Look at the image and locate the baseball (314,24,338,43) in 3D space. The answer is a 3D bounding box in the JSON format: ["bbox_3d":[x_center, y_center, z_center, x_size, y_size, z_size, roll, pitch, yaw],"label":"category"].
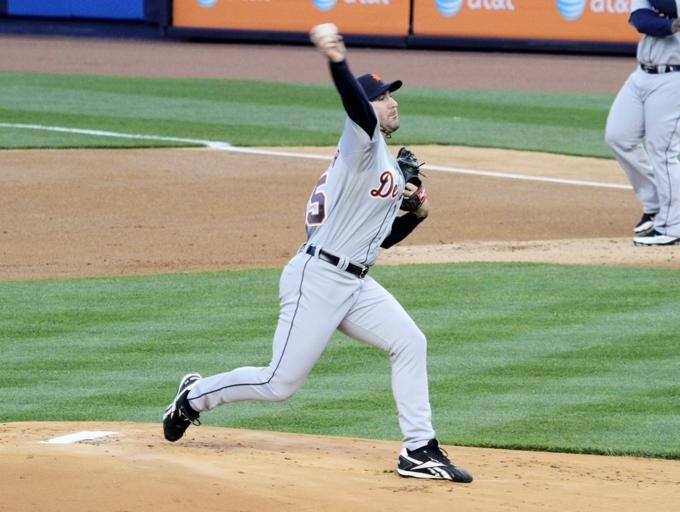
[{"bbox_3d":[-0.156,-1.825,13.231,0.230,0.155,0.206,-2,7,-29],"label":"baseball"}]

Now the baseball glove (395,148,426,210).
[{"bbox_3d":[0.677,-0.666,13.825,0.205,0.449,0.352,-18,35,-23],"label":"baseball glove"}]

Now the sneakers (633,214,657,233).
[{"bbox_3d":[3.325,-0.361,17.660,0.141,0.302,0.097,40,27,-17],"label":"sneakers"}]

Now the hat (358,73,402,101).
[{"bbox_3d":[0.304,-1.415,13.637,0.366,0.114,0.231,-8,19,28],"label":"hat"}]
